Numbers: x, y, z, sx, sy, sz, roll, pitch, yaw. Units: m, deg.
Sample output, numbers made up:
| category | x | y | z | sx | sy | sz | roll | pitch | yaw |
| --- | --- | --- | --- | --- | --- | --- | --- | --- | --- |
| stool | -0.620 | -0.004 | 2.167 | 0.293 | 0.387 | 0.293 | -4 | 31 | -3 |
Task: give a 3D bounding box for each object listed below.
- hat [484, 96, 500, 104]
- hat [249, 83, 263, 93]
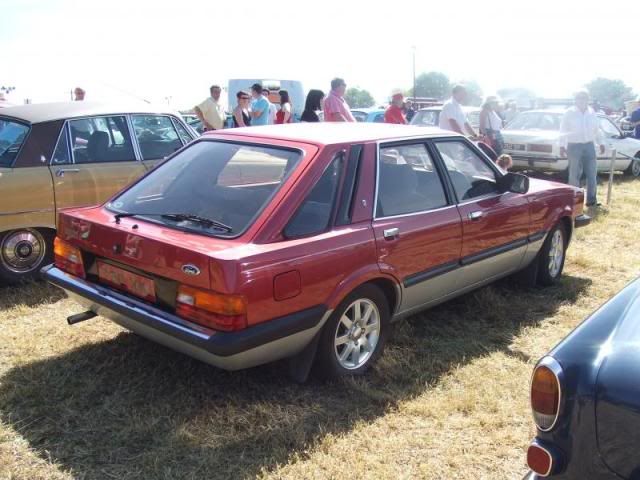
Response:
| category | x | y | z | sx | sy | sz | roll | pitch | yaw |
| --- | --- | --- | --- | --- | --- | --- | --- | --- | --- |
| hat | 3.649 | -2.986 | 9.990 | 0.340 | 0.166 | 0.275 | 0 | 17 | 0 |
| hat | -1.249 | -3.003 | 9.344 | 0.195 | 0.202 | 0.418 | -3 | 18 | -9 |
